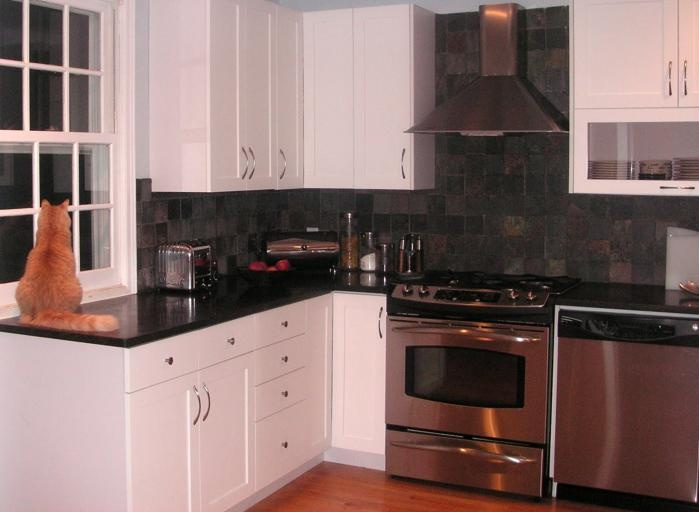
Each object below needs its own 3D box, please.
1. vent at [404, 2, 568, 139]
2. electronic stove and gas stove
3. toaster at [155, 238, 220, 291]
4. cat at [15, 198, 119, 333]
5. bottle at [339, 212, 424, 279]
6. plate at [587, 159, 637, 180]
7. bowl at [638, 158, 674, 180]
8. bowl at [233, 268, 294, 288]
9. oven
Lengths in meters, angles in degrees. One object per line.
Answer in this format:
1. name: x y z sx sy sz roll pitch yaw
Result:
1. vent: 0.846 -0.994 3.823 0.832 0.666 0.880 1 7 19
2. electronic stove and gas stove: 0.814 0.200 3.815 1.014 0.166 0.648 1 5 20
3. toaster: -0.926 0.035 3.622 0.288 0.247 0.289 2 6 15
4. cat: -1.277 -0.084 3.061 0.302 0.961 0.499 -4 -21 -8
5. bottle: 0.225 -0.055 4.272 0.430 0.284 0.173 4 7 27
6. plate: 1.507 -0.490 3.625 0.233 0.116 0.052 3 3 22
7. bowl: 1.708 -0.482 3.548 0.123 0.073 0.122 0 4 0
8. bowl: -0.506 0.124 3.900 0.332 0.110 0.287 -1 4 -7
9. oven: 0.737 0.840 3.873 0.893 0.997 0.703 2 4 19
